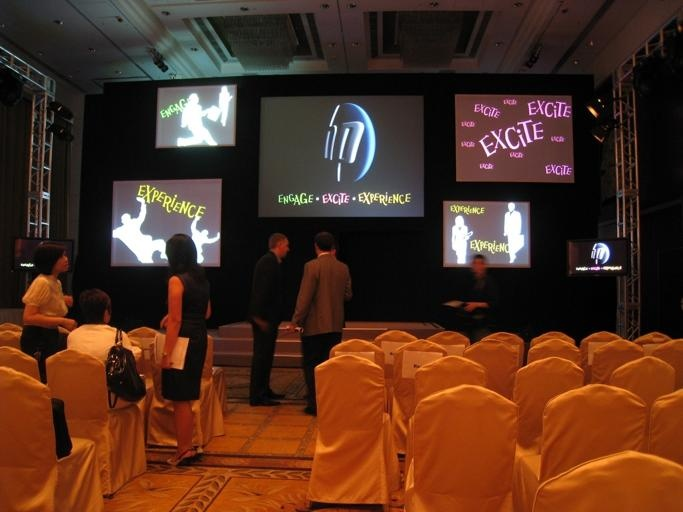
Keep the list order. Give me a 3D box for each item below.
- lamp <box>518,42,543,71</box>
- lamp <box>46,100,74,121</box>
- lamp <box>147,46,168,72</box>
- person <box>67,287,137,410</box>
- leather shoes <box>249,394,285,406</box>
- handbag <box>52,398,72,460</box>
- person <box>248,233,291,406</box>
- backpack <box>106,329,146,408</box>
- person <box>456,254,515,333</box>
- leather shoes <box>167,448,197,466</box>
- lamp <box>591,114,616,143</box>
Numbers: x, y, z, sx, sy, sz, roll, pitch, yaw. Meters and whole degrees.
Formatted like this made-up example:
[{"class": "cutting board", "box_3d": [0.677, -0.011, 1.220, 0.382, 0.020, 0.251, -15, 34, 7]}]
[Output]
[{"class": "lamp", "box_3d": [3.626, -3.777, 11.467, 0.343, 0.268, 0.930, 3, -3, 12]}, {"class": "lamp", "box_3d": [-5.001, -2.618, 10.735, 0.389, 0.283, 0.335, 6, -3, -42]}, {"class": "lamp", "box_3d": [-3.560, -3.811, 11.592, 0.540, 0.168, 0.213, 45, 17, 28]}, {"class": "person", "box_3d": [-2.348, 0.786, 5.764, 0.554, 1.129, 0.575, 2, 23, -29]}, {"class": "leather shoes", "box_3d": [-0.909, 1.761, 7.376, 0.409, 0.186, 0.145, -3, -2, -2]}, {"class": "handbag", "box_3d": [-2.230, 1.376, 4.796, 0.200, 0.418, 0.149, 5, -3, -41]}, {"class": "person", "box_3d": [-0.911, 0.768, 7.297, 0.403, 2.078, 0.485, 3, -2, -6]}, {"class": "backpack", "box_3d": [-1.995, 1.053, 5.540, 0.286, 0.668, 0.623, -6, -21, -14]}, {"class": "person", "box_3d": [1.736, 0.520, 7.515, 0.480, 1.079, 0.298, 2, -2, 18]}, {"class": "leather shoes", "box_3d": [-1.558, 1.934, 5.844, 0.240, 0.108, 0.144, -4, -3, 3]}, {"class": "lamp", "box_3d": [4.159, -2.029, 9.565, 0.244, 0.323, 0.308, 4, -3, -28]}]
